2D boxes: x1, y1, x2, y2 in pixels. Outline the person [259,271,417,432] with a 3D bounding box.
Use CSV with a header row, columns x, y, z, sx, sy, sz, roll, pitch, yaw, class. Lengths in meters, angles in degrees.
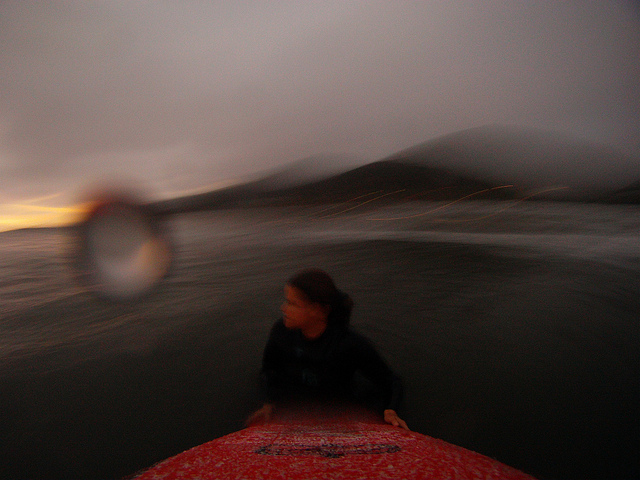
x,y,z,sx,sy,sz,roll,pitch,yaw,class
0.197,1.147,4.389,1.454,1.829,0.820,-5,9,36,person
